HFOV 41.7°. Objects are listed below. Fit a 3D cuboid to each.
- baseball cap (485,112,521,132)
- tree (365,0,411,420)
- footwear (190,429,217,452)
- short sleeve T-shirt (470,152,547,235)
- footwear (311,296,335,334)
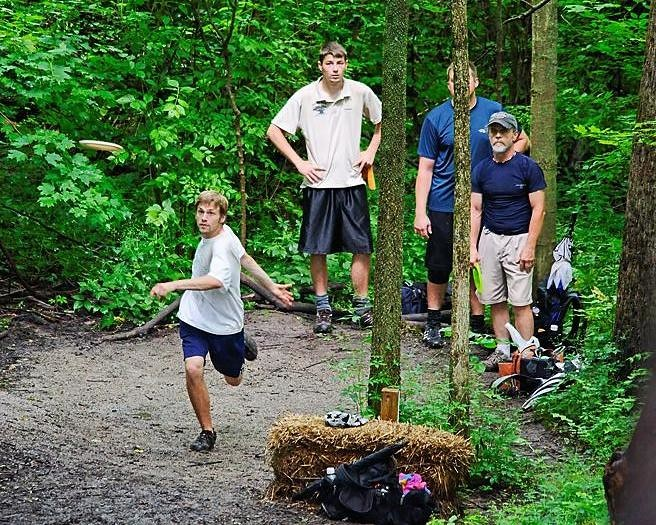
[{"bbox_3d":[1.722,-1.358,8.362,0.295,0.199,0.340,5,11,11],"label":"baseball cap"},{"bbox_3d":[0.518,-0.425,6.728,0.287,3.192,0.752,3,11,3],"label":"tree"},{"bbox_3d":[-1.015,1.478,7.095,0.112,0.118,0.260,9,1,23],"label":"footwear"},{"bbox_3d":[1.828,-0.679,8.611,0.846,0.778,0.474,3,17,39],"label":"short sleeve T-shirt"},{"bbox_3d":[-0.033,0.594,9.546,0.163,0.461,0.228,1,-21,-2],"label":"footwear"}]
